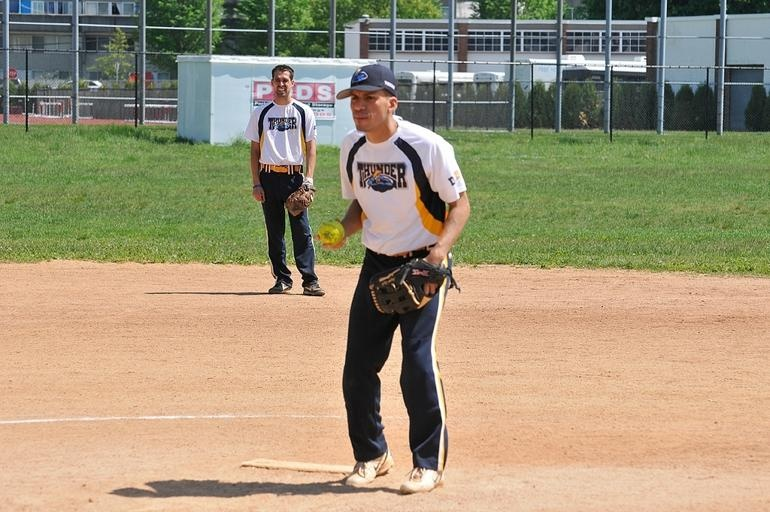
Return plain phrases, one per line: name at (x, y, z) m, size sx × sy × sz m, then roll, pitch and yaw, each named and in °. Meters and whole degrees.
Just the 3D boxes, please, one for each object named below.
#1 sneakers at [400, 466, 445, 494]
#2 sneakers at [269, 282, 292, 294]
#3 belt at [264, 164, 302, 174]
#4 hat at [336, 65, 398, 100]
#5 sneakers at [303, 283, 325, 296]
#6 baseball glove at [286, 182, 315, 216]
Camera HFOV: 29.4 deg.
sneakers at (0.522, 3.172, 20.682) m, size 0.692 × 0.302 × 0.267 m, roll 2°, pitch -6°, yaw -34°
sneakers at (-1.828, 0.547, 25.871) m, size 0.369 × 0.158 × 0.189 m, roll 3°, pitch -5°, yaw -36°
belt at (-1.785, -1.547, 25.588) m, size 0.687 × 0.170 × 0.160 m, roll 0°, pitch 4°, yaw 2°
hat at (-0.212, -2.494, 20.783) m, size 0.673 × 0.380 × 0.488 m, roll 1°, pitch 1°, yaw -14°
sneakers at (-1.223, 0.579, 25.795) m, size 0.170 × 0.207 × 0.435 m, roll 2°, pitch -5°, yaw -33°
baseball glove at (-1.421, -0.970, 25.405) m, size 0.416 × 0.562 × 0.224 m, roll 42°, pitch -7°, yaw 12°
